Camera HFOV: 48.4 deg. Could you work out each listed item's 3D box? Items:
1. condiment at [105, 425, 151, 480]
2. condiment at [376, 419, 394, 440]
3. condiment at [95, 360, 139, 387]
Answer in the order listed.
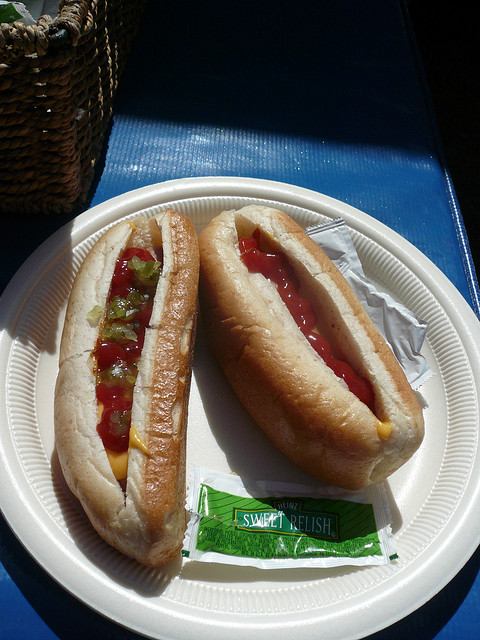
[{"bbox_3d":[-0.305,0.356,1.415,0.131,0.061,0.139,6,71,-21],"label":"condiment"},{"bbox_3d":[0.416,0.315,1.530,0.053,0.046,0.049,-1,77,2],"label":"condiment"},{"bbox_3d":[-0.351,0.159,1.527,0.068,0.033,0.094,24,53,14],"label":"condiment"}]
